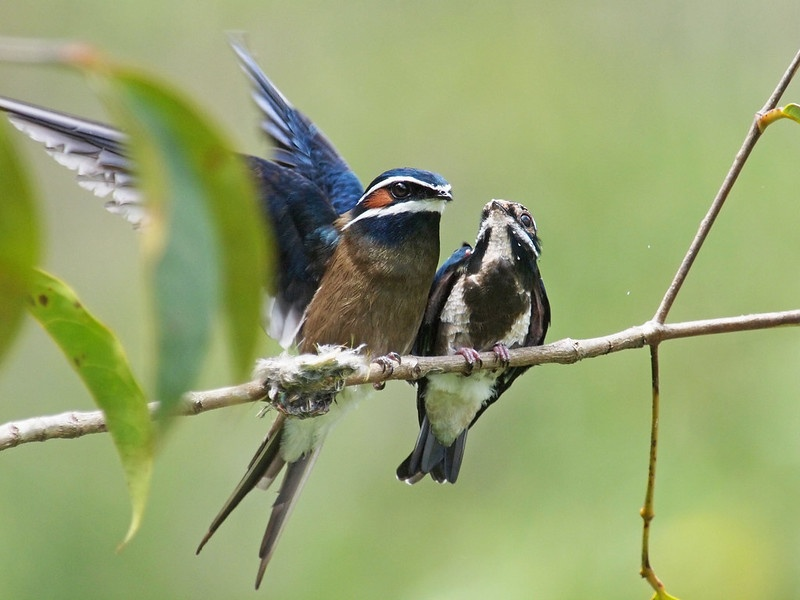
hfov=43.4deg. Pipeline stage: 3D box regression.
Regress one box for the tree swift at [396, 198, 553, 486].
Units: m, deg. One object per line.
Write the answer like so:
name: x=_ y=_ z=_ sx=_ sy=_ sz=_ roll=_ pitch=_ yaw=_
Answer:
tree swift: x=0.172 y=0.141 z=3.079 sx=0.378 sy=0.492 sz=0.927 roll=8 pitch=-62 yaw=-9
